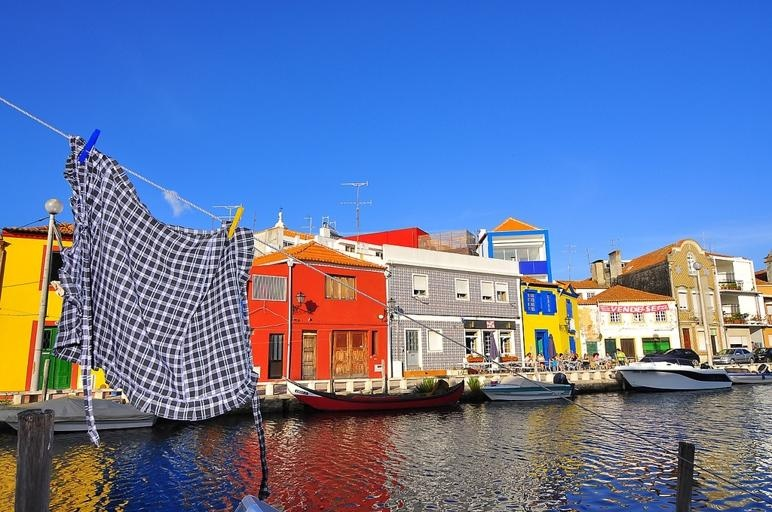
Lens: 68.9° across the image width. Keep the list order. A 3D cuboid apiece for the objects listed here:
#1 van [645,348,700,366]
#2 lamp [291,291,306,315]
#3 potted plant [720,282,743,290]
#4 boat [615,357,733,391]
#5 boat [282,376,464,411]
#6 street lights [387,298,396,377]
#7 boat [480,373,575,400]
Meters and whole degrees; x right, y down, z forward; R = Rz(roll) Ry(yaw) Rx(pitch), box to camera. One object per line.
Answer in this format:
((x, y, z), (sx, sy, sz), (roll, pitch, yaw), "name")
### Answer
((20.011, 6.966, 39.000), (3.098, 0.843, 1.562), (-1, -6, -2), "van")
((-5.117, 2.814, 33.591), (0.903, 1.444, 0.354), (5, -15, -33), "lamp")
((37.259, 3.314, 60.367), (1.439, 0.394, 1.146), (3, -6, -14), "potted plant")
((20.096, 8.373, 38.616), (8.639, 1.829, 2.499), (6, -22, -12), "boat")
((-0.709, 7.142, 29.074), (10.236, 1.656, 1.859), (4, -26, -13), "boat")
((0.385, 5.734, 36.457), (0.577, 4.067, 0.594), (-2, -13, -8), "street lights")
((8.636, 7.786, 33.293), (3.948, 1.563, 5.059), (-9, -13, 34), "boat")
